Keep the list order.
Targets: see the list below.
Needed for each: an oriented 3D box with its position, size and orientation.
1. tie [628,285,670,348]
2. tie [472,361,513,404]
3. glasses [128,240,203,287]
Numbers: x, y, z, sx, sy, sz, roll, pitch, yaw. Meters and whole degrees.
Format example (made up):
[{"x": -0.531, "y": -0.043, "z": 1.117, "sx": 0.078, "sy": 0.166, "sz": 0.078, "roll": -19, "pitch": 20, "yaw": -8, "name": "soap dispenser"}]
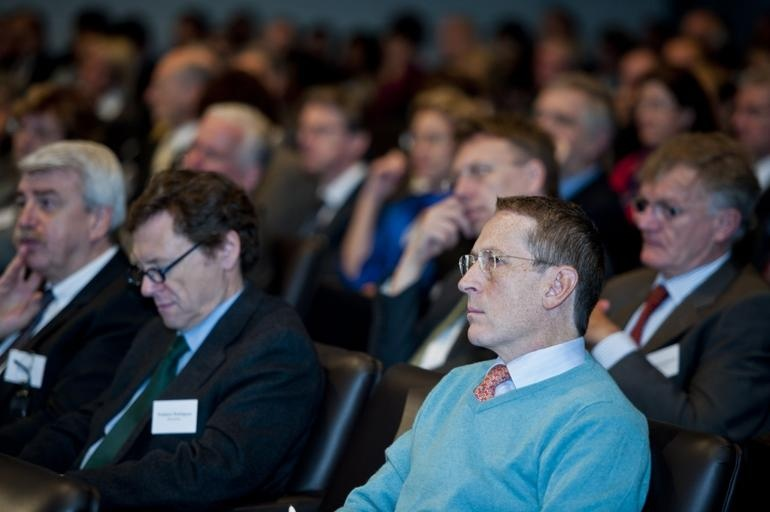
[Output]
[{"x": 1.219, "y": 0.286, "z": 3.493, "sx": 0.057, "sy": 0.294, "sz": 0.048, "roll": 31, "pitch": -7, "yaw": 37, "name": "tie"}, {"x": 0.397, "y": 0.464, "z": 2.808, "sx": 0.092, "sy": 0.155, "sz": 0.043, "roll": 16, "pitch": -18, "yaw": 30, "name": "tie"}, {"x": -0.914, "y": 0.061, "z": 3.199, "sx": 0.065, "sy": 0.219, "sz": 0.213, "roll": 57, "pitch": -34, "yaw": -7, "name": "glasses"}]
